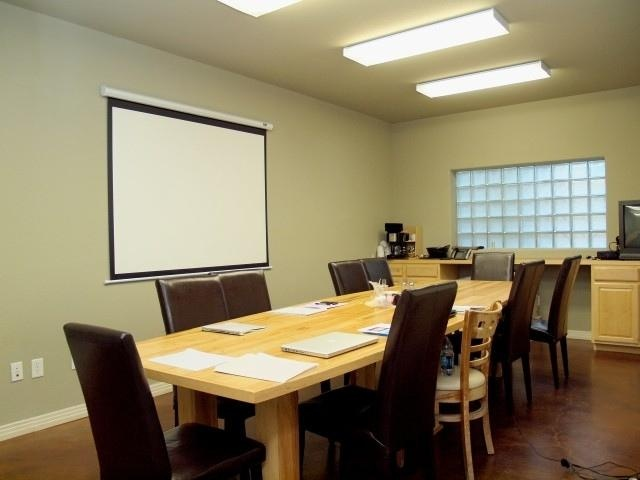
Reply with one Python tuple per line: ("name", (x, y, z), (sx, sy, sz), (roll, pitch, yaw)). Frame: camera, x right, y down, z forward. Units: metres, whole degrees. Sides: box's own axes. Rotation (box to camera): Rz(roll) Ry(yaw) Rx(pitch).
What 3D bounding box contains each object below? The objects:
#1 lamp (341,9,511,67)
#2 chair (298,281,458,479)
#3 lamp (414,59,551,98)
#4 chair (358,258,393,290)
("lamp", (0.883, -1.746, 4.025), (1.321, 0.152, 0.432), (0, 4, 30))
("chair", (0.291, 0.716, 2.285), (0.714, 1.014, 0.419), (0, 4, 17))
("lamp", (1.726, -1.727, 5.027), (1.308, 0.126, 0.427), (0, 4, 30))
("chair", (0.538, 0.318, 4.391), (0.266, 0.471, 0.263), (0, -2, -39))
